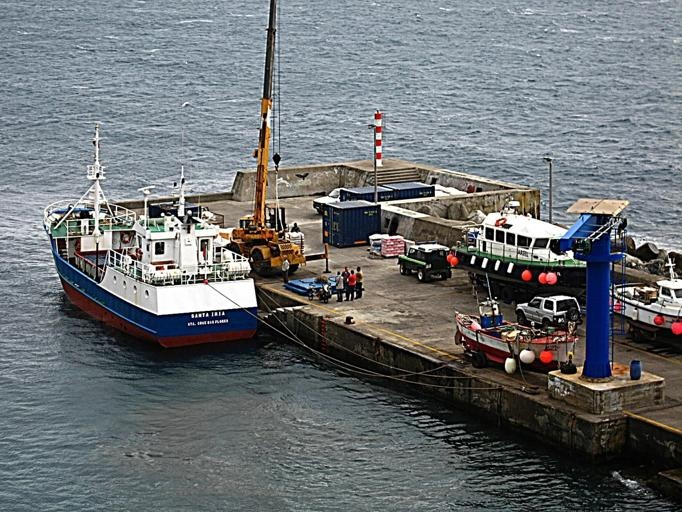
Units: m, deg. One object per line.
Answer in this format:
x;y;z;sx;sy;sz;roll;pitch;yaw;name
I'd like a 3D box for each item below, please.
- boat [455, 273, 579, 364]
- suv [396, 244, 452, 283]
9.492;4.636;65.974;3.276;2.664;8.496;-7;11;-40;boat
6.073;0.342;80.466;2.480;1.805;3.795;-6;15;-29;suv
